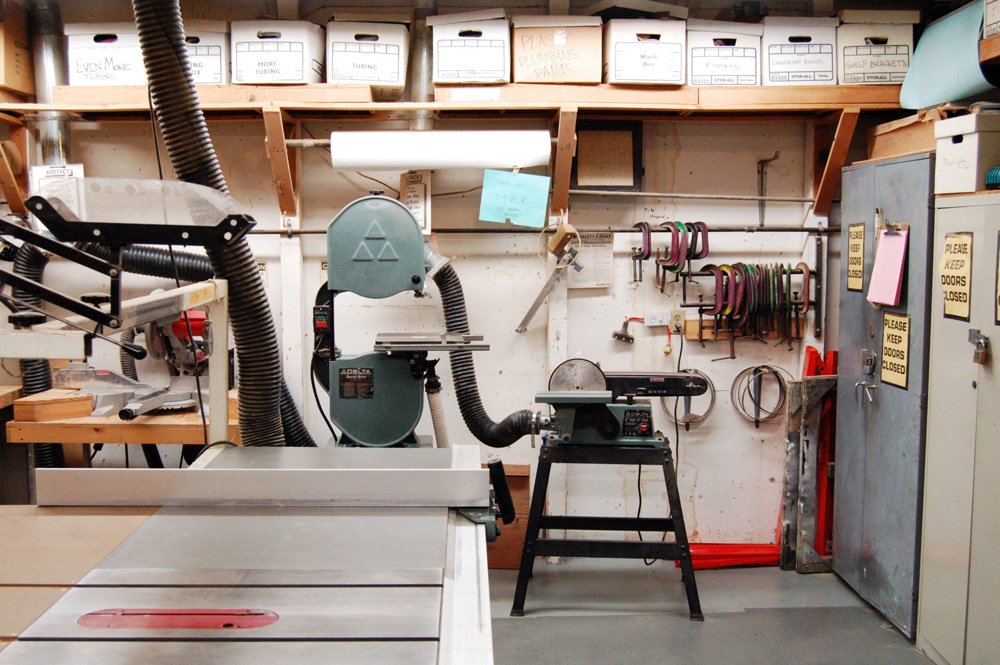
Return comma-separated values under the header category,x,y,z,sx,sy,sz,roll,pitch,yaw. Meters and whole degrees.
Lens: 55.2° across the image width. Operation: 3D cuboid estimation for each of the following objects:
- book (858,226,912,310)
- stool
category,x,y,z,sx,sy,sz,roll,pitch,yaw
book,2.010,-0.343,4.925,0.086,0.408,0.194,-4,9,-18
stool,0.578,1.054,5.500,1.096,0.886,0.972,0,-3,3
